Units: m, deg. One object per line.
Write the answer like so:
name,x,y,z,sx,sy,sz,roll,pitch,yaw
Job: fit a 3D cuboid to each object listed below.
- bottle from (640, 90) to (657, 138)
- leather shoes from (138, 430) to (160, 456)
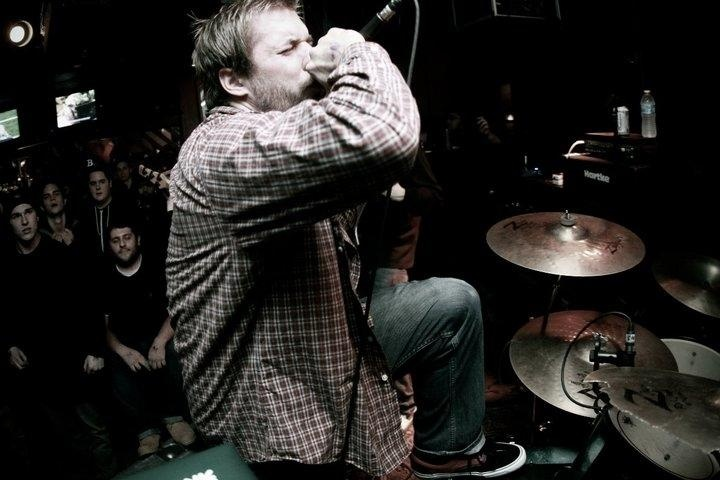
bottle,2.171,-0.932,4.573,0.120,0.306,0.389,8,27,17
leather shoes,-1.492,1.436,4.320,0.118,0.039,0.152,9,53,16
